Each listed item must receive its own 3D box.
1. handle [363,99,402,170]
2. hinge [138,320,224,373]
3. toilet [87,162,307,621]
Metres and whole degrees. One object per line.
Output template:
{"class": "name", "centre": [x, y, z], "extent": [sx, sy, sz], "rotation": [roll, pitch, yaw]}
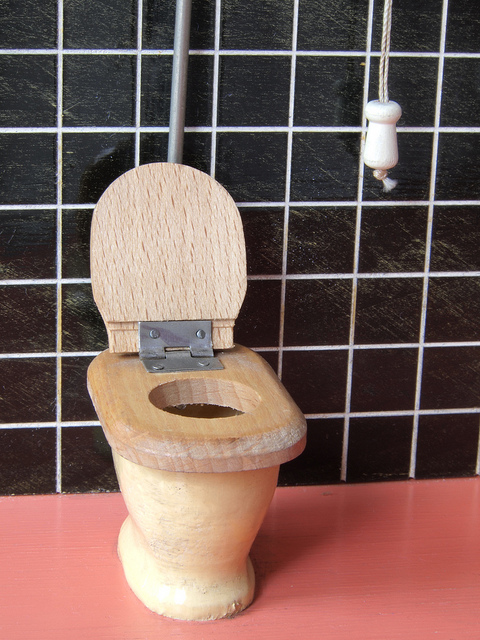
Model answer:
{"class": "handle", "centre": [0.263, -0.346, 1.344], "extent": [0.066, 0.111, 0.111], "rotation": [-5, -27, 2]}
{"class": "hinge", "centre": [-0.105, 0.048, 1.289], "extent": [0.144, 0.088, 0.066], "rotation": [-3, -68, -15]}
{"class": "toilet", "centre": [-0.102, 0.121, 1.300], "extent": [0.346, 0.770, 0.416], "rotation": [2, -29, -10]}
